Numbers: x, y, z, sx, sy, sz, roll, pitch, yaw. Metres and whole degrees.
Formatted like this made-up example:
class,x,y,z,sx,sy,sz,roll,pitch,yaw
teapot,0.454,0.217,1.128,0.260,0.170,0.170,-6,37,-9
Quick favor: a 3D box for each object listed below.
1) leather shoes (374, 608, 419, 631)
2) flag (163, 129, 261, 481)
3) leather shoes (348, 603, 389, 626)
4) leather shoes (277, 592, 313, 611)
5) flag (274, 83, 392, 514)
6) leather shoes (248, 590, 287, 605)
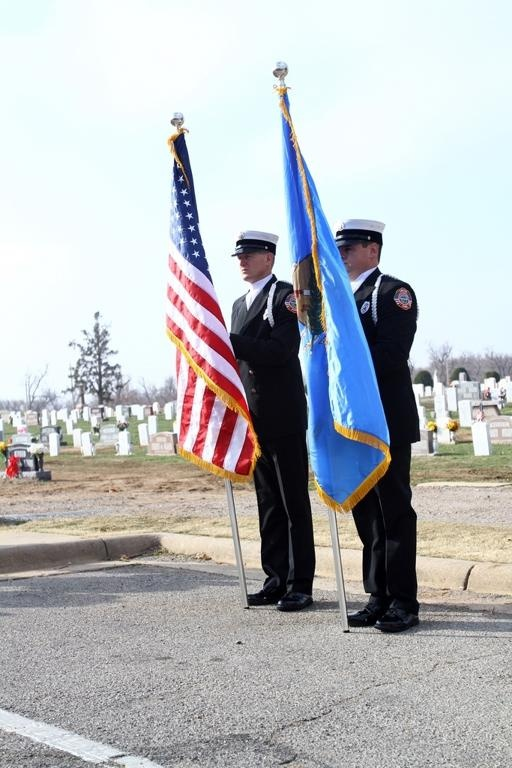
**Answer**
class,x,y,z,sx,sy,sz,roll,pitch,yaw
leather shoes,0.703,1.175,3.313,0.146,0.090,0.253,-6,-5,39
flag,-0.313,-0.529,4.078,0.613,2.244,0.390,-3,-3,16
leather shoes,0.588,1.219,3.488,0.081,0.092,0.238,-11,-21,39
leather shoes,0.231,1.275,3.896,0.134,0.088,0.279,-4,-4,25
flag,0.374,-0.544,3.482,0.561,2.406,0.331,-4,-3,24
leather shoes,0.060,1.310,4.070,0.241,0.102,0.080,8,-20,-23
